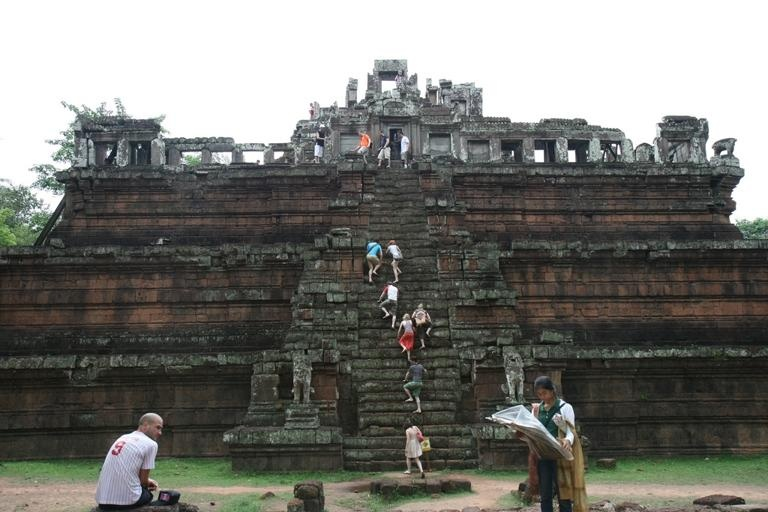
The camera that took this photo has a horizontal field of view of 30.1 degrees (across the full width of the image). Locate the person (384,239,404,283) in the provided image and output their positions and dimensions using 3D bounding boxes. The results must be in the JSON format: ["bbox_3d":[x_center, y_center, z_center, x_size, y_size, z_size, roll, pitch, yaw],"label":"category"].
[{"bbox_3d":[0.290,0.098,42.016,0.532,1.527,1.007,-1,-19,0],"label":"person"}]

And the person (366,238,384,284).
[{"bbox_3d":[-0.327,0.174,41.792,0.446,1.316,0.697,-1,-19,-1],"label":"person"}]

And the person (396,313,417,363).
[{"bbox_3d":[0.622,2.324,39.971,0.495,1.378,0.577,-1,-20,0],"label":"person"}]

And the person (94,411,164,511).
[{"bbox_3d":[-6.133,4.974,34.339,1.420,2.314,0.717,2,-20,-8],"label":"person"}]

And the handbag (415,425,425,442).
[{"bbox_3d":[0.920,4.776,37.836,0.153,0.320,0.363,-28,-16,4],"label":"handbag"}]

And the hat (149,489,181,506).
[{"bbox_3d":[-5.227,5.877,34.417,0.539,0.221,0.352,-3,-2,-5],"label":"hat"}]

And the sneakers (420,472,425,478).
[{"bbox_3d":[1.004,5.807,37.334,0.081,0.118,0.123,-2,-9,21],"label":"sneakers"}]

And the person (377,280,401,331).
[{"bbox_3d":[0.101,1.385,40.839,0.597,1.514,0.846,-1,-19,0],"label":"person"}]
